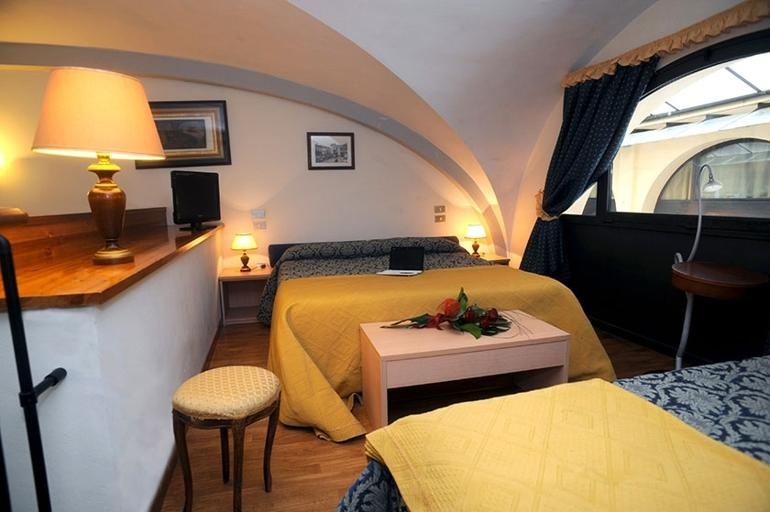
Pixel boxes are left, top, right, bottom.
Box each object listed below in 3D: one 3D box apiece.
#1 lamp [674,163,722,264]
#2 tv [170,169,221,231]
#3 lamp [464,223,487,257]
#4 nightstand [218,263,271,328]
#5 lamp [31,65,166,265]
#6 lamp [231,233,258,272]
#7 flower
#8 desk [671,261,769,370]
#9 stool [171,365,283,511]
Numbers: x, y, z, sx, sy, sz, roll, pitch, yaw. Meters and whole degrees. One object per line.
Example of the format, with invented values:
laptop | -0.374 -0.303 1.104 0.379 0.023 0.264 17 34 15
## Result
lamp | 2.385 -0.323 3.622 0.229 0.763 0.526 8 13 34
tv | -1.895 -0.562 4.784 0.182 0.496 0.679 2 5 9
lamp | 1.117 -0.185 5.921 0.293 0.393 0.300 -1 -1 -16
nightstand | -1.608 0.435 5.299 0.763 0.735 0.590 -1 6 -14
lamp | -1.477 -0.464 2.520 0.557 0.991 0.251 -2 11 -15
lamp | -1.563 -0.063 5.309 0.253 0.385 0.427 -2 11 -16
flower | 0.463 0.429 3.211 0.643 0.254 0.401 -3 8 -12
desk | 2.370 0.405 3.344 0.459 0.699 0.726 0 10 6
stool | -0.867 1.020 2.609 0.560 0.669 0.582 -11 16 -43
